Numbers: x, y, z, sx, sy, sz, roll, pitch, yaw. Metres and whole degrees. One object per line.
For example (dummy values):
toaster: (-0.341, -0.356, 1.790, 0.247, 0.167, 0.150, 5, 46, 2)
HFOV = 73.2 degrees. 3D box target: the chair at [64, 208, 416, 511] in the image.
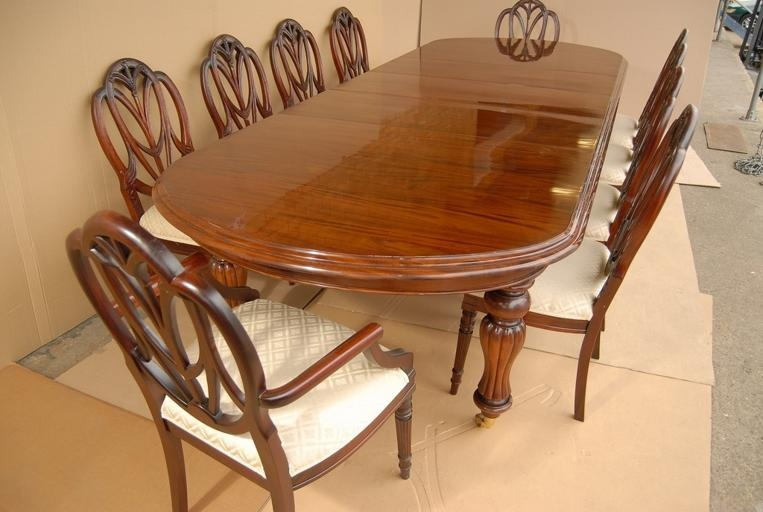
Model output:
chair: (-0.458, 0.365, 1.656, 0.560, 1.034, 0.620, 23, 46, 19)

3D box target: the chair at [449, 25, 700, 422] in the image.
chair: (0.847, -0.102, 2.259, 0.709, 1.351, 1.759, 17, 41, 24)
